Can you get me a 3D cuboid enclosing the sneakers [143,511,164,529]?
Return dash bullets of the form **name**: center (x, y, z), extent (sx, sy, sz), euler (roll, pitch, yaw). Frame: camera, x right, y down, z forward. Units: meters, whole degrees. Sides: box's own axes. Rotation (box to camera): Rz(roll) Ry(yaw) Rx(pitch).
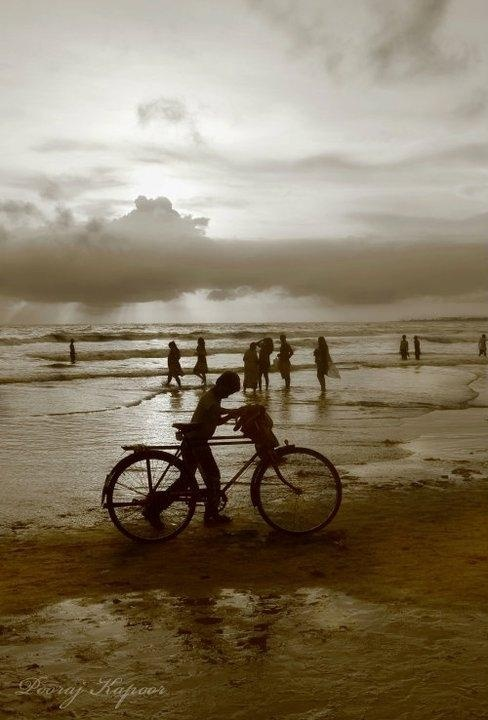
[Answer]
- **sneakers**: center (-0.737, 1.332, 6.186), extent (0.159, 0.151, 0.062), euler (-3, 6, -14)
